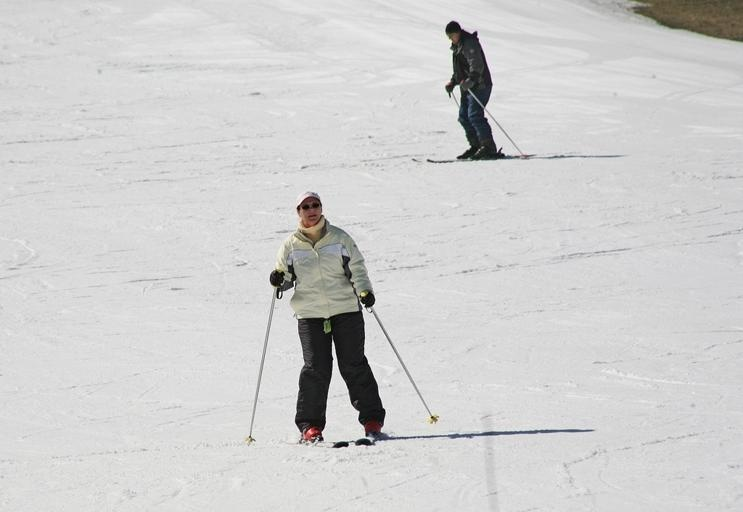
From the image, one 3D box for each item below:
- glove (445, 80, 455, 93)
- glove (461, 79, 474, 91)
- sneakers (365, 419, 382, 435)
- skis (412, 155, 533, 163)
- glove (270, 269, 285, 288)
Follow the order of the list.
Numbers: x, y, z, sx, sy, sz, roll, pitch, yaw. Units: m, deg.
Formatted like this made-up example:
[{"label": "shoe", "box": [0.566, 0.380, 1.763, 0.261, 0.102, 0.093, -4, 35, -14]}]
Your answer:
[{"label": "glove", "box": [1.235, -2.680, 22.393, 0.200, 0.098, 0.191, 8, 78, 2]}, {"label": "glove", "box": [1.477, -2.661, 22.070, 0.185, 0.151, 0.157, -6, 72, 10]}, {"label": "sneakers", "box": [0.031, 2.054, 16.884, 0.208, 0.077, 0.234, -2, 65, -10]}, {"label": "skis", "box": [1.684, -1.554, 22.727, 1.986, 0.080, 0.181, 0, 34, 14]}, {"label": "glove", "box": [-1.134, 0.268, 17.000, 0.190, 0.076, 0.180, 1, 98, -8]}]
